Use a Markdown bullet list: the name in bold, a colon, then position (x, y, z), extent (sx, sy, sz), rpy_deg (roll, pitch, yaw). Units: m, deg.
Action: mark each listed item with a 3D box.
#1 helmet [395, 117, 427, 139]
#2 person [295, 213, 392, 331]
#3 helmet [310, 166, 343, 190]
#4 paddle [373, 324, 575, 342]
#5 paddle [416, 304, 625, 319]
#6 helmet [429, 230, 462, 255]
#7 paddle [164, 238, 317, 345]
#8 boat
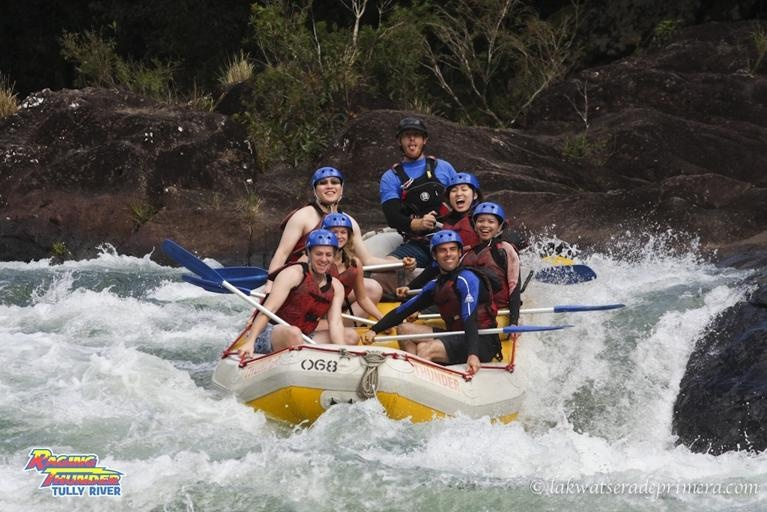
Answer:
- **helmet**: position (0.491, -2.226, 16.965), extent (0.476, 0.312, 0.382), rpy_deg (1, 39, 0)
- **person**: position (-0.670, 0.314, 15.676), extent (1.724, 1.516, 0.760), rpy_deg (-4, 25, -3)
- **helmet**: position (-0.907, -1.295, 16.064), extent (0.406, 0.513, 0.503), rpy_deg (1, 0, -2)
- **paddle**: position (1.309, 1.206, 15.786), extent (3.367, 0.144, 0.144), rpy_deg (-3, 9, -3)
- **paddle**: position (2.193, 0.877, 16.141), extent (2.869, 0.118, 0.150), rpy_deg (-2, 18, -11)
- **helmet**: position (0.977, -0.191, 15.603), extent (0.323, 0.429, 0.342), rpy_deg (1, 13, 0)
- **paddle**: position (-2.453, 0.659, 16.771), extent (2.936, 0.437, 0.171), rpy_deg (37, -12, 0)
- **boat**: position (0.198, 0.640, 16.088), extent (2.942, 1.264, 3.856), rpy_deg (4, 17, 14)
